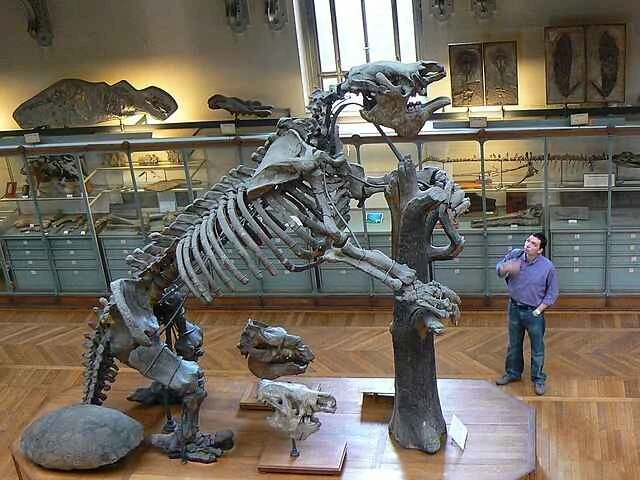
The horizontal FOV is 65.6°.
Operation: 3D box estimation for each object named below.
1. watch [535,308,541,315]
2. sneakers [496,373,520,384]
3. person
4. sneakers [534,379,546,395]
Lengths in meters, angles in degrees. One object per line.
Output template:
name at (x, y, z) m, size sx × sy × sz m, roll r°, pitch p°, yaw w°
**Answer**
watch at (1.986, 0.643, 4.539) m, size 0.028 × 0.051 × 0.039 m, roll 35°, pitch 15°, yaw -16°
sneakers at (1.832, 1.345, 4.890) m, size 0.290 × 0.112 × 0.093 m, roll -1°, pitch 14°, yaw -7°
person at (1.948, 0.765, 4.690) m, size 0.511 × 1.322 × 0.361 m, roll 0°, pitch 17°, yaw 24°
sneakers at (2.080, 1.383, 4.717) m, size 0.068 × 0.067 × 0.176 m, roll -1°, pitch 15°, yaw 9°
